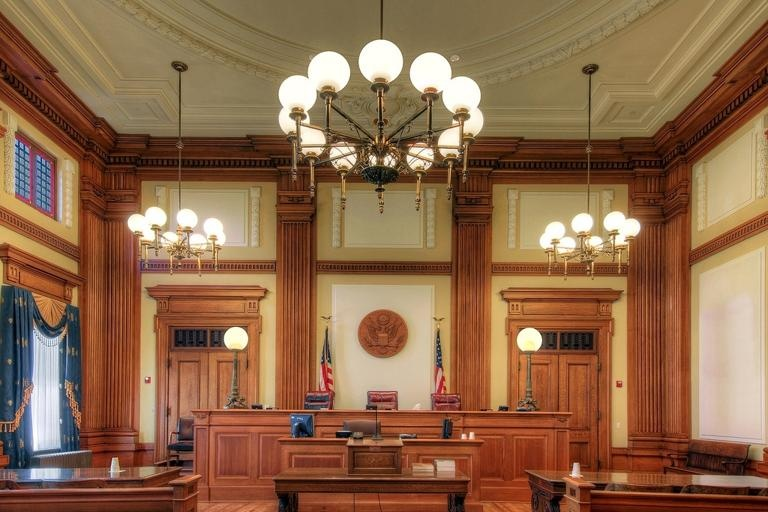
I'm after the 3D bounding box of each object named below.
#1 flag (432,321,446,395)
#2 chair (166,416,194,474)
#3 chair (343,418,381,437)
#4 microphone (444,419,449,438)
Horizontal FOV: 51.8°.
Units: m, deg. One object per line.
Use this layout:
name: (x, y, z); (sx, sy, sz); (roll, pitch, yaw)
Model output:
flag: (1.080, 1.928, 15.279); (0.219, 1.438, 0.326); (0, -14, 4)
chair: (-3.758, 3.413, 14.621); (0.438, 0.894, 1.087); (4, -15, -15)
chair: (-0.358, 2.624, 12.125); (0.634, 0.328, 0.433); (1, -11, -9)
microphone: (0.983, 2.758, 12.603); (0.096, 0.300, 0.171); (3, -14, -11)
